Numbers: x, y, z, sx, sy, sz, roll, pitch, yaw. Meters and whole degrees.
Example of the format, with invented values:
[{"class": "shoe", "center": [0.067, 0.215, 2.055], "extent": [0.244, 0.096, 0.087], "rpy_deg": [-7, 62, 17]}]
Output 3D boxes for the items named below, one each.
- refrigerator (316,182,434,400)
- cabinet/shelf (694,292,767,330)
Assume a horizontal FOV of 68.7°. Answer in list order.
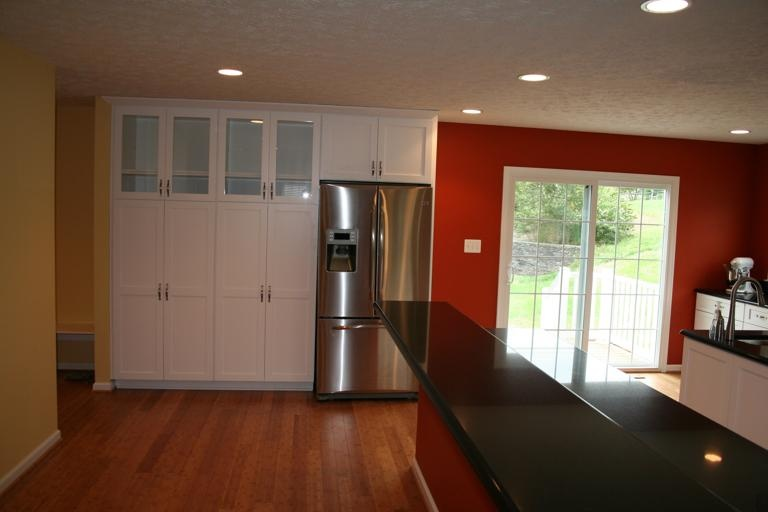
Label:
[{"class": "refrigerator", "center": [-0.093, 0.360, 5.300], "extent": [1.058, 2.014, 0.421], "rpy_deg": [1, 15, -6]}, {"class": "cabinet/shelf", "center": [3.401, 0.534, 5.448], "extent": [0.229, 0.494, 0.558], "rpy_deg": [4, -1, 1]}]
